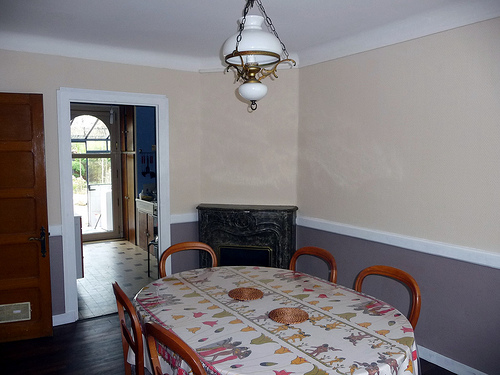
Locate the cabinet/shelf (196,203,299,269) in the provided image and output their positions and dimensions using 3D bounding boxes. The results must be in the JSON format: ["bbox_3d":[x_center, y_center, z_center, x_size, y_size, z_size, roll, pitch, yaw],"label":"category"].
[{"bbox_3d":[-0.035,0.601,4.521,0.712,0.687,0.194,2,10,9],"label":"cabinet/shelf"}]

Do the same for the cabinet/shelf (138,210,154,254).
[{"bbox_3d":[-1.840,0.785,6.684,0.285,0.698,0.729,-2,5,-31],"label":"cabinet/shelf"}]
